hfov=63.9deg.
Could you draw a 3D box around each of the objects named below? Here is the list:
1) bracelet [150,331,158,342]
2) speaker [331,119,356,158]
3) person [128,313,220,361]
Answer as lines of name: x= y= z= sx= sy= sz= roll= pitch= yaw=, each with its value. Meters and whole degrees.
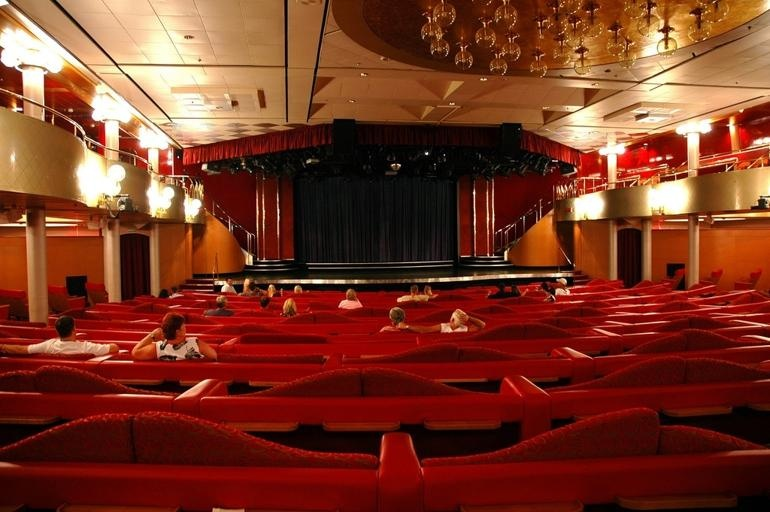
bracelet: x=-3.231 y=1.129 z=8.660 sx=0.121 sy=0.056 sz=0.152 roll=-4 pitch=18 yaw=-13
speaker: x=-1.204 y=-3.390 z=17.672 sx=0.590 sy=0.953 sz=0.277 roll=4 pitch=14 yaw=15
person: x=-2.862 y=1.222 z=8.420 sx=1.124 sy=0.716 sz=0.605 roll=0 pitch=4 yaw=-30
